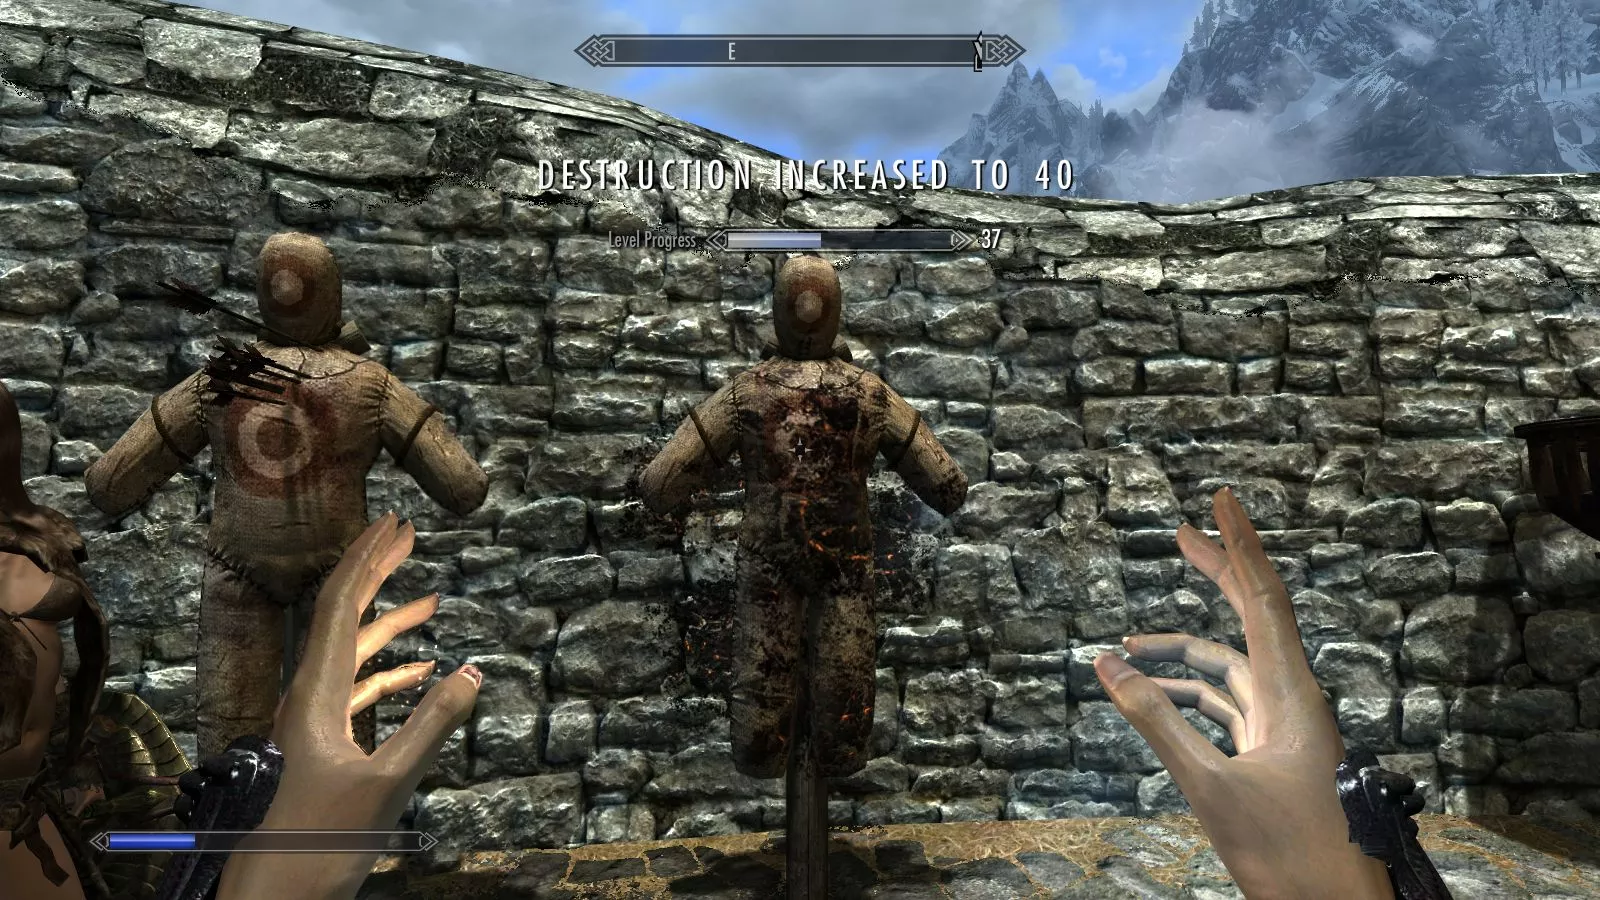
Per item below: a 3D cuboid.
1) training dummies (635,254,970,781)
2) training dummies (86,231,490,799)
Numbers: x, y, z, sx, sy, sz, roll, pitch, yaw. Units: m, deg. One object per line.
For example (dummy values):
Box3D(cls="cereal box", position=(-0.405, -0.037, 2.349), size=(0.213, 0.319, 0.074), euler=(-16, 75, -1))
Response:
Box3D(cls="training dummies", position=(0.030, 0.305, 6.416), size=(1.194, 2.276, 0.715), euler=(-11, -17, 22))
Box3D(cls="training dummies", position=(-2.254, 0.180, 6.163), size=(1.469, 2.157, 0.691), euler=(-10, -17, 19))
